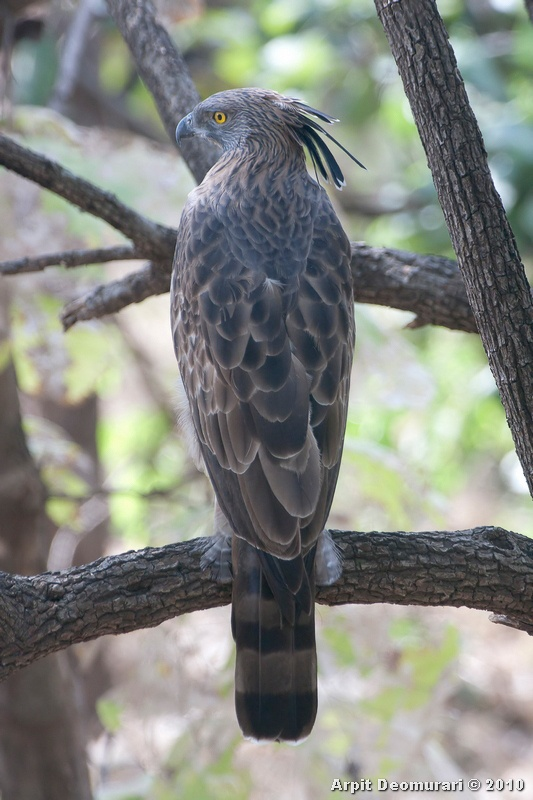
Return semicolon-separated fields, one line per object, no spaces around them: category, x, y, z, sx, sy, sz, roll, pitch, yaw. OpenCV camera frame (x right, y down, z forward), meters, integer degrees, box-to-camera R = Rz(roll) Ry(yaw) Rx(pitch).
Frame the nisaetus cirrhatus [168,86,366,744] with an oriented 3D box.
nisaetus cirrhatus;-0.045;-0.094;3.721;0.629;2.267;0.451;-5;-26;11
